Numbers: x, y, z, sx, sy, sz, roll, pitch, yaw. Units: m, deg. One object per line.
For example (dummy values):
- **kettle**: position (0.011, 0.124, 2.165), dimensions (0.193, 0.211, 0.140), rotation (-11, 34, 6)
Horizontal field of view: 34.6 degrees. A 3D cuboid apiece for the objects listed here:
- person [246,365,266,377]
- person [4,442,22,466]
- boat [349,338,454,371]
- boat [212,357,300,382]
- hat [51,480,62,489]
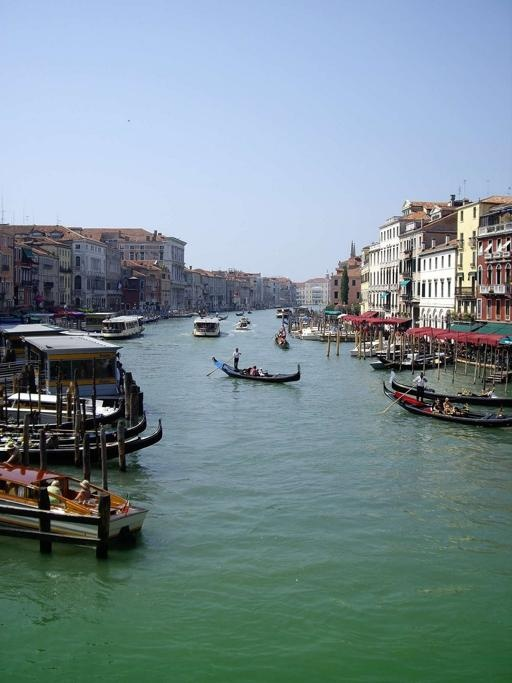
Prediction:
- **person**: position (0.096, 1.966, 54.548), dimensions (0.951, 0.340, 0.651), rotation (9, 2, 22)
- **person**: position (-7.432, 3.444, 25.099), dimensions (0.366, 0.942, 0.411), rotation (13, 11, 9)
- **boat**: position (13.535, 1.244, 65.733), dimensions (8.862, 1.871, 2.362), rotation (1, 0, -14)
- **boat**: position (0.213, 2.128, 54.300), dimensions (1.806, 1.276, 8.122), rotation (-4, 8, -34)
- **hat**: position (-5.134, 3.684, 21.158), dimensions (0.251, 0.196, 0.172), rotation (-1, 6, -26)
